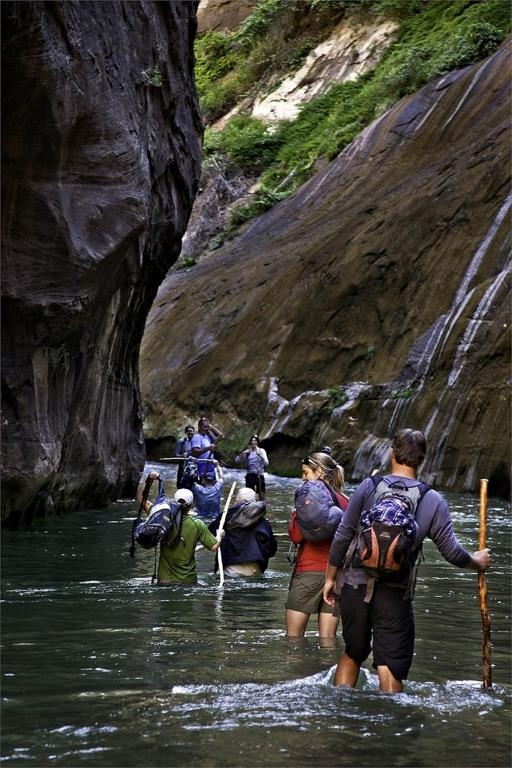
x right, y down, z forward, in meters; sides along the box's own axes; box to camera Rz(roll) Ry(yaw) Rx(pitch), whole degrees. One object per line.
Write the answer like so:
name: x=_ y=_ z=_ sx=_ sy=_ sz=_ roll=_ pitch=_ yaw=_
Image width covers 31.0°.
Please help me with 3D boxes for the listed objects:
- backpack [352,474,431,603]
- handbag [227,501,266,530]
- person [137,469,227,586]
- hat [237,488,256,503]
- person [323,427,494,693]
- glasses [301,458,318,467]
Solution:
backpack: x=0.711 y=0.830 z=4.920 sx=0.404 sy=0.684 sz=0.385 roll=4 pitch=-7 yaw=8
handbag: x=-0.083 y=1.319 z=9.296 sx=0.279 sy=0.138 sz=0.352 roll=4 pitch=-3 yaw=-38
person: x=-0.708 y=1.599 z=8.550 sx=0.955 sy=1.485 sz=0.556 roll=3 pitch=10 yaw=-7
hat: x=-0.092 y=1.171 z=9.580 sx=0.142 sy=0.164 sz=0.168 roll=4 pitch=-38 yaw=1
person: x=1.349 y=1.361 z=7.370 sx=1.154 sy=2.187 sz=0.872 roll=21 pitch=33 yaw=22
glasses: x=0.399 y=0.572 z=6.732 sx=0.067 sy=0.022 sz=0.074 roll=6 pitch=-34 yaw=13
